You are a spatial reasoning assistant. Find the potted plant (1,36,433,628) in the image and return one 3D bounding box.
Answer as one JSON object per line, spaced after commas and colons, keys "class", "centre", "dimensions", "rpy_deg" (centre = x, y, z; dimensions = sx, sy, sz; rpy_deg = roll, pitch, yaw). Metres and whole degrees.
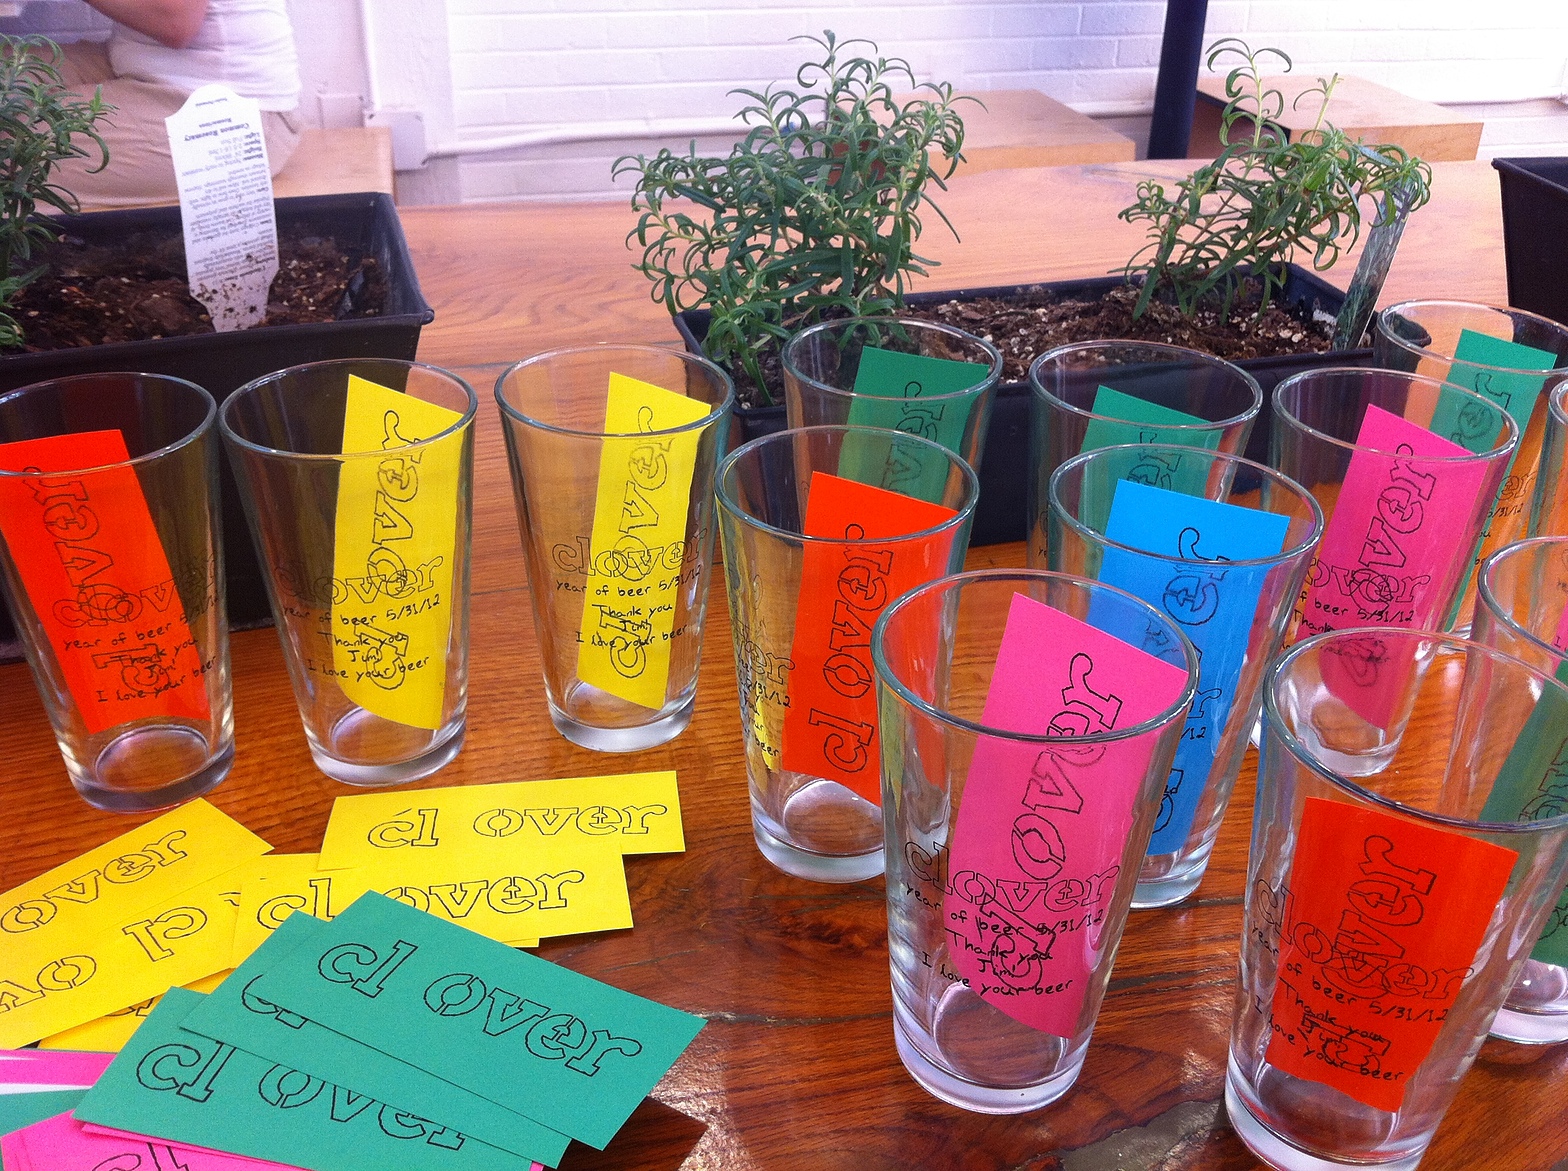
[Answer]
{"class": "potted plant", "centre": [-0.450, -0.203, 0.973], "dimensions": [0.303, 0.185, 0.417], "rpy_deg": [-6, 32, -10]}
